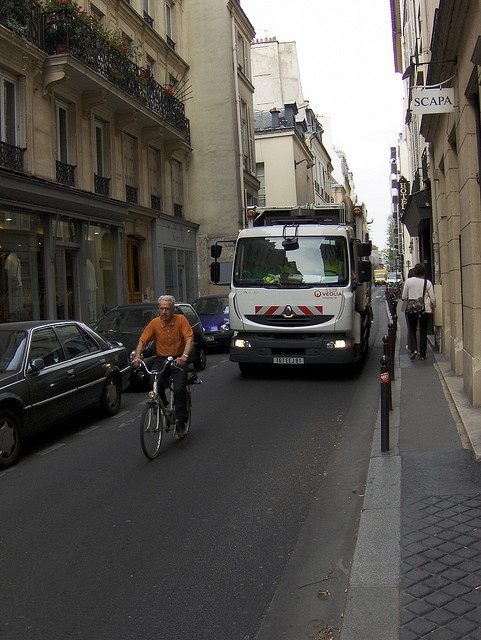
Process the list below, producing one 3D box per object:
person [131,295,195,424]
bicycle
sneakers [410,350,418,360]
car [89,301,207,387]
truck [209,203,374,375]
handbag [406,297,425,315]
[{"bbox_3d":[-0.840,0.473,6.384,0.652,1.487,0.726,12,19,40],"label":"person"},{"bbox_3d":[-0.873,0.968,5.960,0.380,0.786,1.082,-2,-4,9],"label":"bicycle"},{"bbox_3d":[3.599,0.745,11.723,0.090,0.136,0.283,-2,-19,9],"label":"sneakers"},{"bbox_3d":[-1.975,0.471,11.748,1.296,1.470,2.595,-3,-4,17],"label":"car"},{"bbox_3d":[1.448,-0.720,12.920,2.085,3.106,4.885,-1,-2,11],"label":"truck"},{"bbox_3d":[3.579,-0.291,11.582,0.376,0.330,0.126,-3,0,21],"label":"handbag"}]
